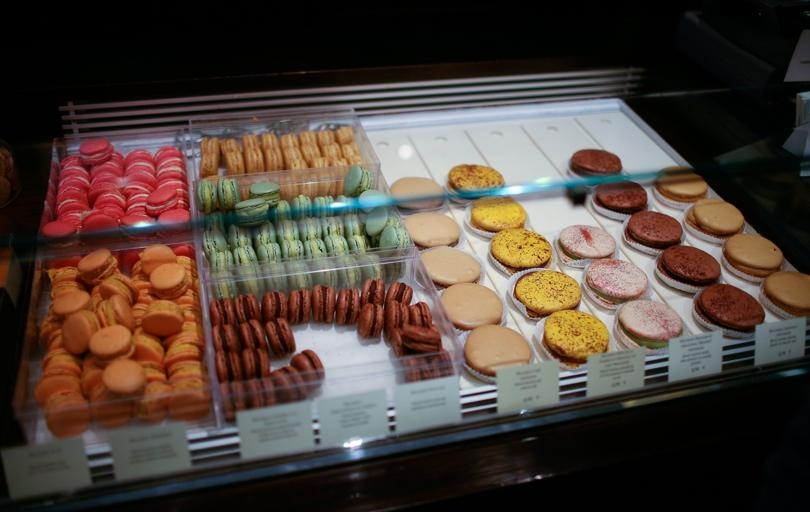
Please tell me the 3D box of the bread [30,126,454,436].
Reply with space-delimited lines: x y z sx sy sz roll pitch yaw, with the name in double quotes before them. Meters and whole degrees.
"bread" -0.612 0.188 1.976 1.489 0.423 0.781 -9 33 -1
